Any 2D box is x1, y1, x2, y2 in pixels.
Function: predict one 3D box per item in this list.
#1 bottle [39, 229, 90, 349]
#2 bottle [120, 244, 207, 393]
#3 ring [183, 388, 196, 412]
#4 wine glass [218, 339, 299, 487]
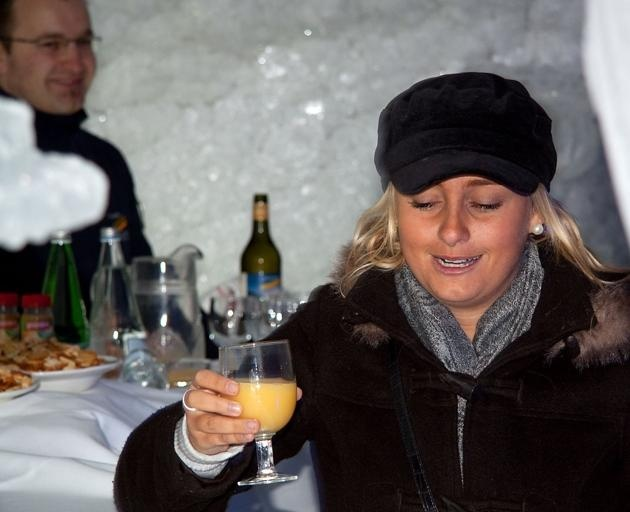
[{"bbox_3d":[-0.700,0.087,1.962,0.124,0.335,0.193,1,-10,-21],"label":"bottle"},{"bbox_3d":[-0.435,0.183,2.053,0.361,0.387,0.260,-1,-3,-13],"label":"bottle"},{"bbox_3d":[-0.255,0.292,1.415,0.036,0.045,0.023,2,0,11],"label":"ring"},{"bbox_3d":[-0.118,0.333,1.447,0.167,0.304,0.204,1,-10,-22],"label":"wine glass"}]
